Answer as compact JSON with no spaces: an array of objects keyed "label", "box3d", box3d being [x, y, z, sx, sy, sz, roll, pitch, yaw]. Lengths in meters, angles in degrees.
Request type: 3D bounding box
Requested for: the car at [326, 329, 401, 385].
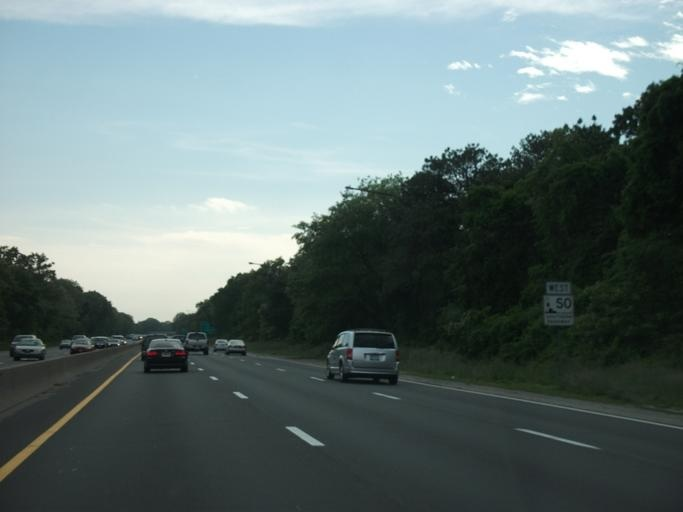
[{"label":"car","box3d":[0.664,3.622,29.349,1.574,1.923,2.794,6,-8,-33]}]
